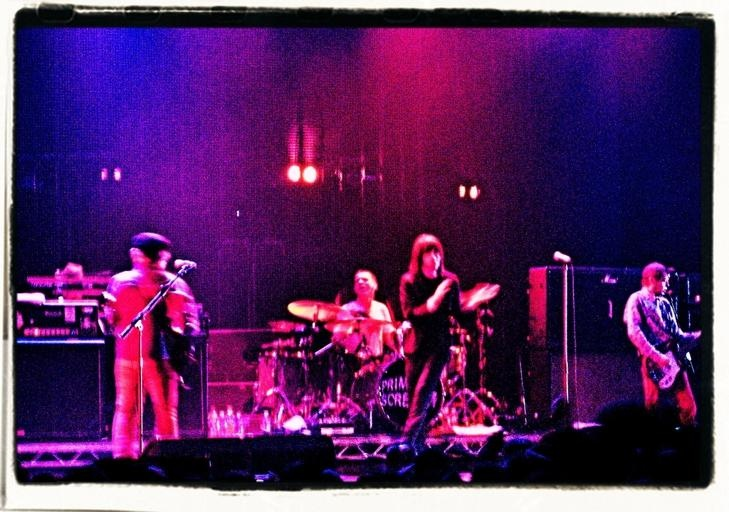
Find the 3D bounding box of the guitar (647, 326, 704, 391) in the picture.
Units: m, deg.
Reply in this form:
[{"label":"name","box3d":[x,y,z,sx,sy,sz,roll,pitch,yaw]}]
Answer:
[{"label":"guitar","box3d":[2.148,0.736,6.066,0.304,0.435,0.124,3,14,-17]}]

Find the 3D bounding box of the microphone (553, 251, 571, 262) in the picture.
[{"label":"microphone","box3d":[1.364,0.015,6.030,0.107,0.063,0.042,28,2,-4]}]

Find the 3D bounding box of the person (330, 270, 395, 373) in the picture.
[{"label":"person","box3d":[-0.034,0.481,6.000,0.552,0.743,0.377,-2,-20,1]}]

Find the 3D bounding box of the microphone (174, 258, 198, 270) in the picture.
[{"label":"microphone","box3d":[-1.234,0.067,6.008,0.109,0.044,0.078,5,0,-41]}]
